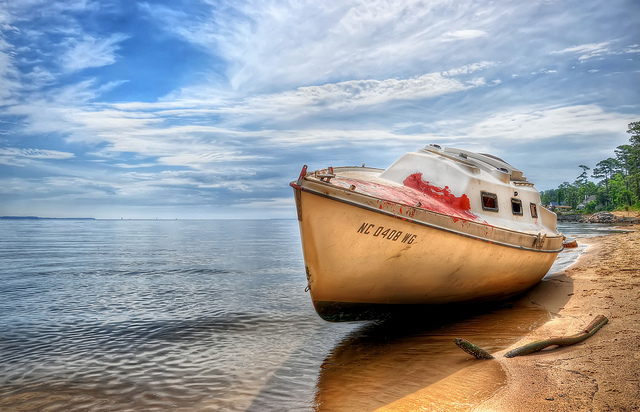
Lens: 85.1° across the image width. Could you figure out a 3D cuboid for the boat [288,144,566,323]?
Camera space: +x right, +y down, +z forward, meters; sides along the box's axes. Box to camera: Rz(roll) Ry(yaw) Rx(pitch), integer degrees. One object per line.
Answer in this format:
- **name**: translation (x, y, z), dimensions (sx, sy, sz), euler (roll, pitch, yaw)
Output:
- **boat**: translation (4.424, 1.273, 13.918), dimensions (10.146, 6.979, 3.038), euler (-10, 4, -28)
